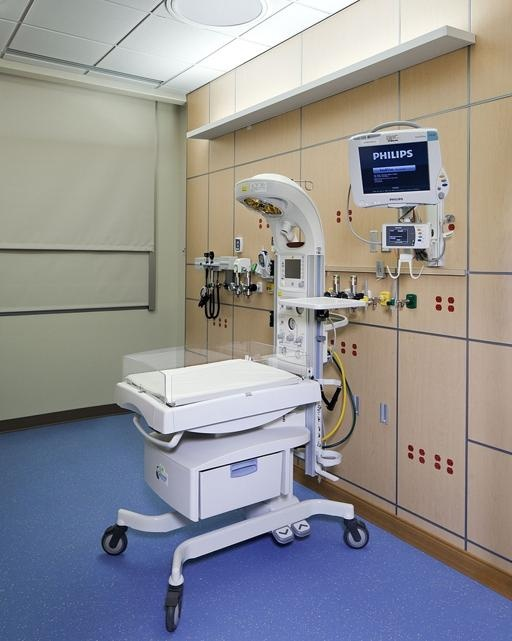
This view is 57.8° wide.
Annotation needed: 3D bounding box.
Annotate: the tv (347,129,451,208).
[{"bbox_3d":[0.599,-0.628,1.909,0.281,0.311,0.051,7,25,41],"label":"tv"}]
